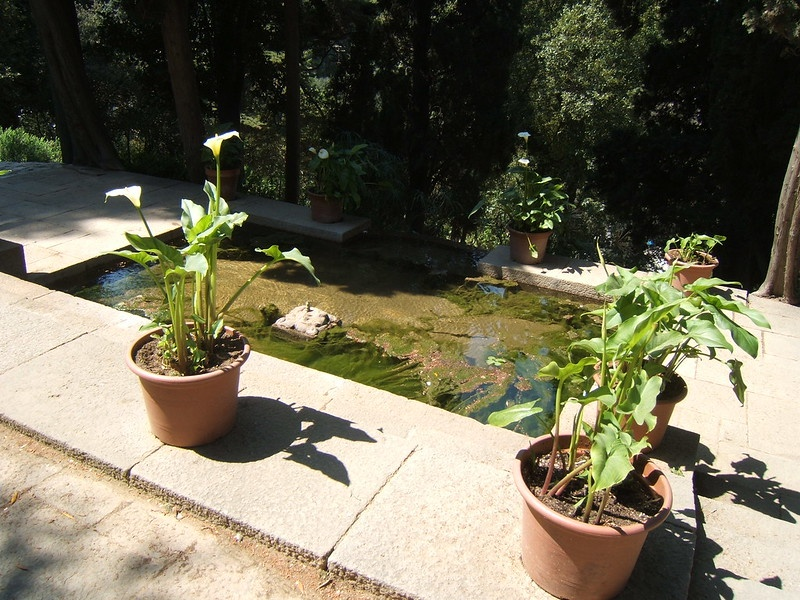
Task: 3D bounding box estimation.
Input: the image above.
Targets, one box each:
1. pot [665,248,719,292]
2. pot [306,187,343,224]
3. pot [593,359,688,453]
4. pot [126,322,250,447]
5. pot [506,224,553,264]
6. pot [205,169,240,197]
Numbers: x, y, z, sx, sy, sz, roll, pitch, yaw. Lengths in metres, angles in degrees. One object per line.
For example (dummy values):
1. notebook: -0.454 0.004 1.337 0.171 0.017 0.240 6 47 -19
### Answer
1. pot: 2.280 -0.246 4.309 0.325 0.256 0.327 1 29 -1
2. pot: -0.847 -1.060 6.143 0.332 0.266 0.348 3 24 -1
3. pot: 1.365 0.699 3.135 0.502 0.411 0.536 -1 34 1
4. pot: -1.091 0.517 3.022 0.564 0.430 0.586 7 31 -4
5. pot: 1.289 -0.582 5.504 0.361 0.275 0.367 2 16 -1
6. pot: -2.094 -1.387 6.517 0.346 0.397 0.457 -4 21 -17
